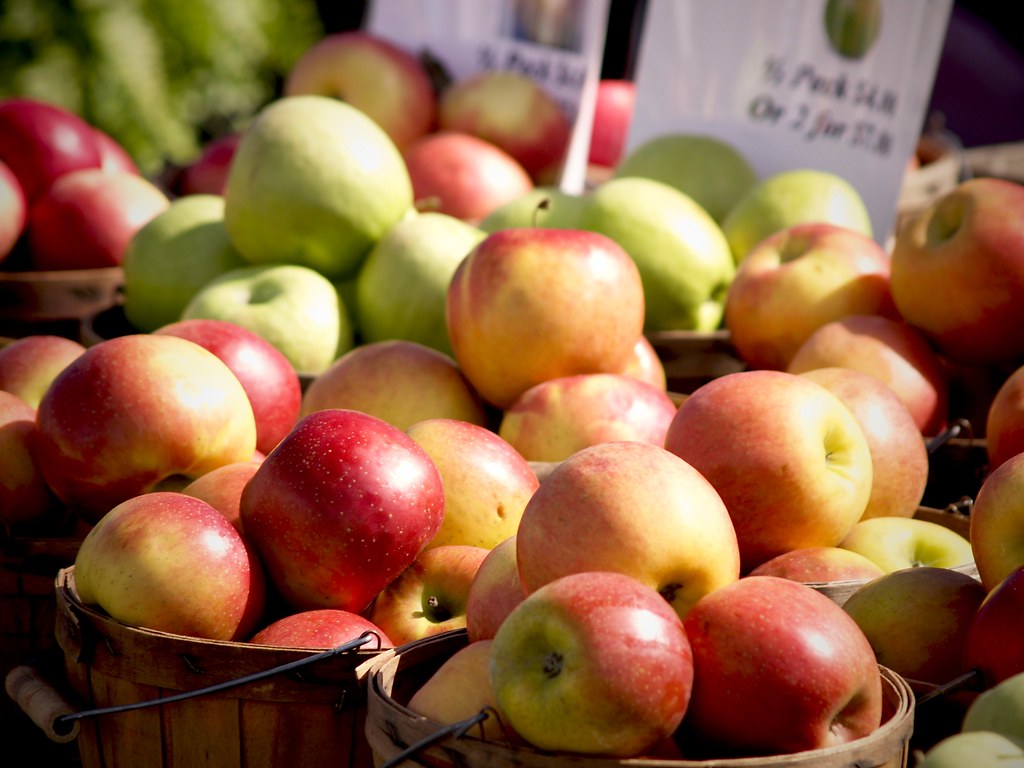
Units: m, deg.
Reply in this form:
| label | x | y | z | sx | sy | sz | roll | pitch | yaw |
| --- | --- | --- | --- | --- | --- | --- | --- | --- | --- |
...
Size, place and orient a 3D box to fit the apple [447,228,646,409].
| label | x | y | z | sx | sy | sz | roll | pitch | yaw |
| --- | --- | --- | --- | --- | --- | --- | --- | --- | --- |
| apple | 0.078 | -0.145 | 1.926 | 0.299 | 0.356 | 0.327 | 0 | 0 | -13 |

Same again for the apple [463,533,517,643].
| label | x | y | z | sx | sy | sz | roll | pitch | yaw |
| --- | --- | --- | --- | --- | --- | --- | --- | --- | --- |
| apple | -0.019 | 0.317 | 1.405 | 0.097 | 0.120 | 0.136 | 6 | 38 | -3 |

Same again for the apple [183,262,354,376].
| label | x | y | z | sx | sy | sz | roll | pitch | yaw |
| --- | --- | --- | --- | --- | --- | --- | --- | --- | --- |
| apple | -0.552 | -0.125 | 2.222 | 0.265 | 0.310 | 0.276 | 20 | -8 | -14 |

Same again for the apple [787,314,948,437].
| label | x | y | z | sx | sy | sz | roll | pitch | yaw |
| --- | --- | --- | --- | --- | --- | --- | --- | --- | --- |
| apple | 0.753 | 0.038 | 2.114 | 0.277 | 0.290 | 0.257 | 17 | 2 | 7 |

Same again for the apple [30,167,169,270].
| label | x | y | z | sx | sy | sz | roll | pitch | yaw |
| --- | --- | --- | --- | --- | --- | --- | --- | --- | --- |
| apple | -1.204 | -0.481 | 2.932 | 0.319 | 0.338 | 0.314 | 6 | 22 | 4 |

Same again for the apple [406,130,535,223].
| label | x | y | z | sx | sy | sz | roll | pitch | yaw |
| --- | --- | --- | --- | --- | --- | --- | --- | --- | --- |
| apple | -0.124 | -0.618 | 2.850 | 0.323 | 0.326 | 0.311 | 12 | 24 | -8 |

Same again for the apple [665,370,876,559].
| label | x | y | z | sx | sy | sz | roll | pitch | yaw |
| --- | --- | --- | --- | --- | --- | --- | --- | --- | --- |
| apple | 0.401 | 0.072 | 1.562 | 0.277 | 0.305 | 0.300 | -11 | 31 | 15 |

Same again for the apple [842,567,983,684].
| label | x | y | z | sx | sy | sz | roll | pitch | yaw |
| --- | --- | --- | --- | --- | --- | --- | --- | --- | --- |
| apple | 0.568 | 0.322 | 1.400 | 0.153 | 0.170 | 0.140 | 7 | -12 | -44 |

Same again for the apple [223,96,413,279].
| label | x | y | z | sx | sy | sz | roll | pitch | yaw |
| --- | --- | --- | --- | --- | --- | --- | --- | --- | --- |
| apple | -0.489 | -0.469 | 2.498 | 0.445 | 0.404 | 0.426 | 10 | 72 | 55 |

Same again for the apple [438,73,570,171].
| label | x | y | z | sx | sy | sz | roll | pitch | yaw |
| --- | --- | --- | --- | --- | --- | --- | --- | --- | --- |
| apple | -0.010 | -0.863 | 3.158 | 0.337 | 0.360 | 0.337 | -1 | 31 | -11 |

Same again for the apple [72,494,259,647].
| label | x | y | z | sx | sy | sz | roll | pitch | yaw |
| --- | --- | --- | --- | --- | --- | --- | --- | --- | --- |
| apple | -0.491 | 0.275 | 1.499 | 0.199 | 0.230 | 0.220 | 7 | 46 | 12 |

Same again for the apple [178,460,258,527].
| label | x | y | z | sx | sy | sz | roll | pitch | yaw |
| --- | --- | --- | --- | --- | --- | --- | --- | --- | --- |
| apple | -0.475 | 0.170 | 1.598 | 0.110 | 0.108 | 0.111 | -10 | 62 | -7 |

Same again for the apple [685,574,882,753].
| label | x | y | z | sx | sy | sz | roll | pitch | yaw |
| --- | --- | --- | --- | --- | --- | --- | --- | --- | --- |
| apple | 0.345 | 0.341 | 1.247 | 0.213 | 0.191 | 0.201 | 17 | 71 | 45 |

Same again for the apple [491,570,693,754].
| label | x | y | z | sx | sy | sz | roll | pitch | yaw |
| --- | --- | --- | --- | --- | --- | --- | --- | --- | --- |
| apple | 0.106 | 0.339 | 1.212 | 0.182 | 0.196 | 0.200 | 27 | 27 | -49 |

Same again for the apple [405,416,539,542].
| label | x | y | z | sx | sy | sz | roll | pitch | yaw |
| --- | --- | --- | --- | --- | --- | --- | --- | --- | --- |
| apple | -0.071 | 0.181 | 1.739 | 0.213 | 0.189 | 0.205 | 32 | 65 | -13 |

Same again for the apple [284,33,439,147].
| label | x | y | z | sx | sy | sz | roll | pitch | yaw |
| --- | --- | --- | --- | --- | --- | --- | --- | --- | --- |
| apple | -0.427 | -0.936 | 3.112 | 0.340 | 0.432 | 0.390 | 1 | 30 | 28 |
